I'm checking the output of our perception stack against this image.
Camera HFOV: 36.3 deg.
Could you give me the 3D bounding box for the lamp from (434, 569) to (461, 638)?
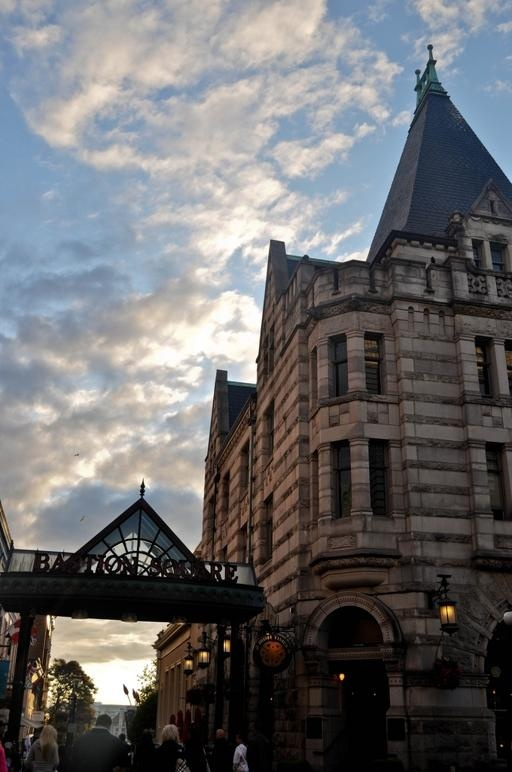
[{"bbox_3d":[4.459,5.039,18.277,0.502,1.464,1.508,-4,-22,13],"label":"lamp"}]
